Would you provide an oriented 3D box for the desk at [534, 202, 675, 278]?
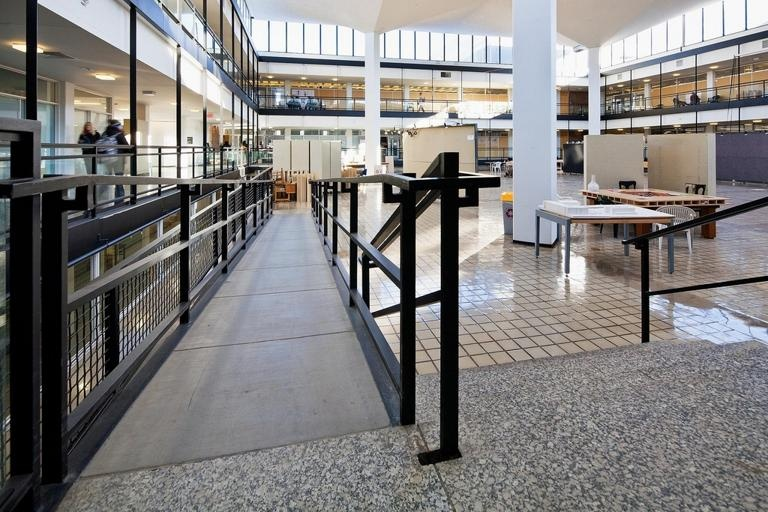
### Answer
[{"bbox_3d":[2.928,-0.360,7.089,1.497,0.791,1.461,-3,16,-6],"label":"desk"}]

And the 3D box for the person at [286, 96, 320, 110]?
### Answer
[{"bbox_3d":[-4.268,-8.138,26.821,1.152,0.499,1.015,-5,20,-19],"label":"person"}]

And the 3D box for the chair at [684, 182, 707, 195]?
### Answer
[{"bbox_3d":[6.521,-1.449,10.664,0.261,0.429,0.237,1,-1,-19],"label":"chair"}]
